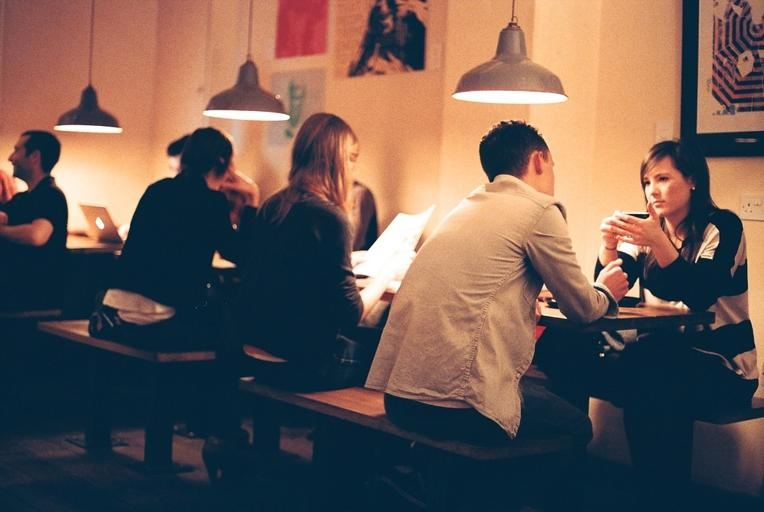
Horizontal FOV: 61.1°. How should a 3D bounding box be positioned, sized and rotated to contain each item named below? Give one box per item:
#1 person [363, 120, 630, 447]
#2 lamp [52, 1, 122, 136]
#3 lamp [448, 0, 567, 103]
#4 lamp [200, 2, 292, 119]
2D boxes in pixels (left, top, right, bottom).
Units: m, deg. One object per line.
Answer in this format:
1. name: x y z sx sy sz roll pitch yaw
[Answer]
1. person: 0.519 0.049 2.701 0.909 1.178 1.026 5 4 44
2. lamp: -1.647 -1.051 3.585 0.331 0.731 0.086 1 8 -23
3. lamp: 0.692 -1.009 3.359 0.553 0.537 0.528 6 11 30
4. lamp: -0.913 -1.249 4.340 0.582 0.924 0.577 4 6 23
